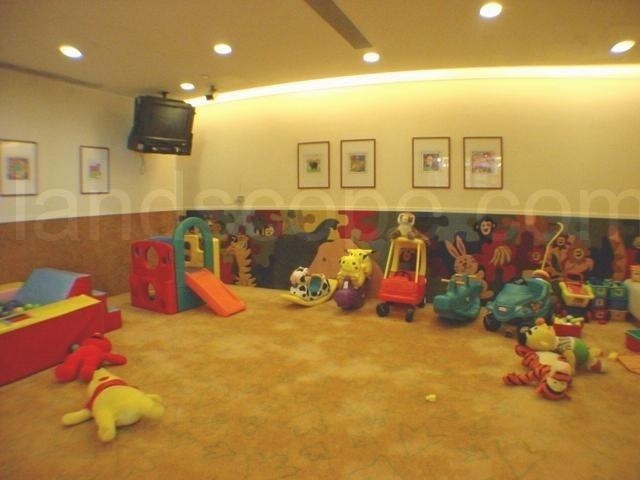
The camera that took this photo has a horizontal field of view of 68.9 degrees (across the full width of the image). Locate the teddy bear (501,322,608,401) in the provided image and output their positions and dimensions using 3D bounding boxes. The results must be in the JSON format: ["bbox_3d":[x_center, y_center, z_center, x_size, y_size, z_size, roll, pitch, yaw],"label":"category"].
[{"bbox_3d":[2.193,1.142,4.399,0.829,0.345,0.655,-12,10,-12],"label":"teddy bear"}]

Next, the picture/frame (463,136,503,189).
[{"bbox_3d":[2.113,-0.995,6.077,0.489,0.713,0.031,1,-8,9],"label":"picture/frame"}]

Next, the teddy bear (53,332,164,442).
[{"bbox_3d":[-1.942,1.299,4.234,0.558,0.279,1.162,-2,11,-32],"label":"teddy bear"}]

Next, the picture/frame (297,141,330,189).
[{"bbox_3d":[-0.074,-1.106,6.830,0.626,0.874,0.038,3,8,21],"label":"picture/frame"}]

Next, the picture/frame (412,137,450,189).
[{"bbox_3d":[1.487,-1.026,6.262,0.493,0.707,0.032,3,29,19],"label":"picture/frame"}]

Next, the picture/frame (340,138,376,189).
[{"bbox_3d":[0.553,-1.094,6.591,0.662,0.921,0.034,2,9,21],"label":"picture/frame"}]

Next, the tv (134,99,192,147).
[{"bbox_3d":[-2.227,-1.644,6.535,0.585,0.515,0.318,1,20,-31],"label":"tv"}]

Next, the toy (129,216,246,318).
[{"bbox_3d":[-1.714,0.328,6.616,1.664,1.484,1.030,3,7,31],"label":"toy"}]
